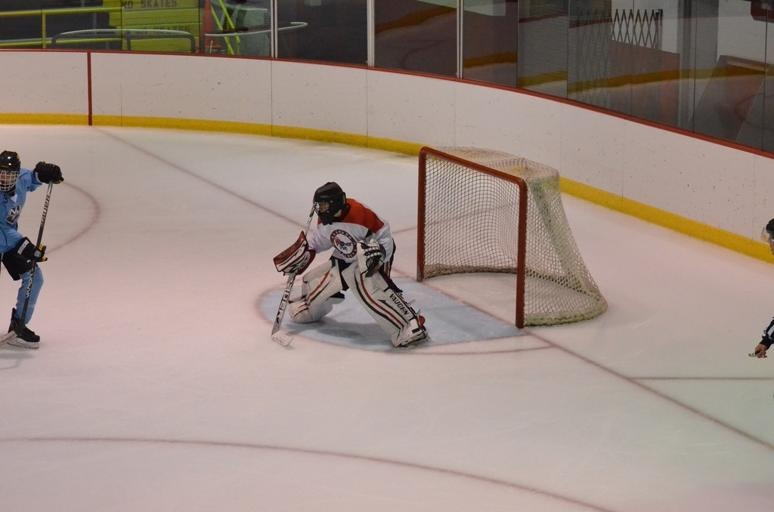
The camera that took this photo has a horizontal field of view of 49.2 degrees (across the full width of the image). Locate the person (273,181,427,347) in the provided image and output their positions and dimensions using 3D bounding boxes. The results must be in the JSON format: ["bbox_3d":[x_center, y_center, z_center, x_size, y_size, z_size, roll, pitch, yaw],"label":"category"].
[{"bbox_3d":[-0.272,0.049,6.105,1.325,1.085,0.818,7,15,44],"label":"person"}]

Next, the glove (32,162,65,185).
[{"bbox_3d":[-2.345,-0.570,5.819,0.216,0.079,0.157,10,1,35],"label":"glove"}]

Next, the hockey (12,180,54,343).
[{"bbox_3d":[-2.649,0.077,6.317,0.146,1.324,0.115,14,-3,-16],"label":"hockey"}]

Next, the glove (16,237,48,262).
[{"bbox_3d":[-2.450,-0.034,5.830,0.184,0.172,0.070,35,-7,-2],"label":"glove"}]

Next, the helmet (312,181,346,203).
[{"bbox_3d":[-0.400,-0.430,5.799,0.208,0.130,0.137,-1,5,-4],"label":"helmet"}]
